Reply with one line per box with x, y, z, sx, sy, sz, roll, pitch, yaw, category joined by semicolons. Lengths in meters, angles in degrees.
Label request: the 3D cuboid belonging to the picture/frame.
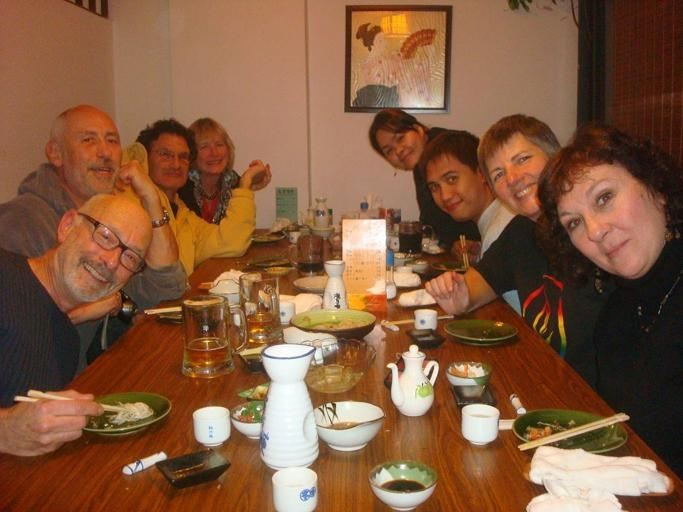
0.560;-1.958;5.093;1.115;1.129;0.084;0;11;2;picture/frame

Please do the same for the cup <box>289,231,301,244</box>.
-0.336;-0.138;3.734;0.087;0.074;0.071;-1;9;-11;cup

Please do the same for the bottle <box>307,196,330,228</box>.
-0.219;-0.343;4.251;0.185;0.302;0.302;0;0;-6;bottle

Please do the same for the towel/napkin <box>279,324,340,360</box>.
-0.087;0.244;1.551;0.078;0.033;0.132;-8;11;-36;towel/napkin

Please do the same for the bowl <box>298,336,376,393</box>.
-0.001;0.301;1.485;0.152;0.067;0.155;-1;18;0;bowl

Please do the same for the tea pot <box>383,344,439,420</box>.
0.183;0.319;1.338;0.180;0.191;0.119;4;-9;-30;tea pot

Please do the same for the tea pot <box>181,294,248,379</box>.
-0.360;0.238;1.659;0.238;0.268;0.166;2;1;-9;tea pot

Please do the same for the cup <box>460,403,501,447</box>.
0.320;0.394;1.225;0.061;0.054;0.099;-3;-7;40;cup

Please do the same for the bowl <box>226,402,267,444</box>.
-0.228;0.386;1.263;0.088;0.052;0.091;2;-1;0;bowl

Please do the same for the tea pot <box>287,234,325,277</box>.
-0.212;-0.003;2.975;0.256;0.266;0.167;-1;1;26;tea pot

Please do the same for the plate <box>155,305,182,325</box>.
-0.653;0.229;2.017;0.075;0.029;0.078;3;9;0;plate

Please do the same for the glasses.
-0.788;-0.059;1.824;0.060;0.196;0.194;-50;34;-16;glasses

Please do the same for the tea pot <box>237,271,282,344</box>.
-0.275;0.176;1.804;0.130;0.244;0.229;-3;8;-27;tea pot

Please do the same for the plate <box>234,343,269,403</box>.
-0.254;0.315;1.499;0.116;0.063;0.187;0;8;-8;plate

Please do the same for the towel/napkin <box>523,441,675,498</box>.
0.519;0.441;1.094;0.189;0.040;0.116;2;3;10;towel/napkin

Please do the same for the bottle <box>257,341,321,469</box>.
-0.123;0.330;1.164;0.130;0.260;0.158;3;15;31;bottle

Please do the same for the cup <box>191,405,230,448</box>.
-0.301;0.400;1.238;0.077;0.066;0.081;0;6;0;cup

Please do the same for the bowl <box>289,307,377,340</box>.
-0.028;0.221;1.785;0.145;0.041;0.145;1;10;0;bowl

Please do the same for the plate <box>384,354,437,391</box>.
0.184;0.324;1.516;0.132;0.132;0.088;2;-2;-28;plate

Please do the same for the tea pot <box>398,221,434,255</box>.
0.498;-0.131;3.458;0.224;0.209;0.148;-1;4;-9;tea pot

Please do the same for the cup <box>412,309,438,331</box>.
0.304;0.222;1.890;0.067;0.052;0.069;-2;16;1;cup

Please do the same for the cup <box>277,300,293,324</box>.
-0.206;0.202;1.907;0.085;0.083;0.088;0;3;0;cup
